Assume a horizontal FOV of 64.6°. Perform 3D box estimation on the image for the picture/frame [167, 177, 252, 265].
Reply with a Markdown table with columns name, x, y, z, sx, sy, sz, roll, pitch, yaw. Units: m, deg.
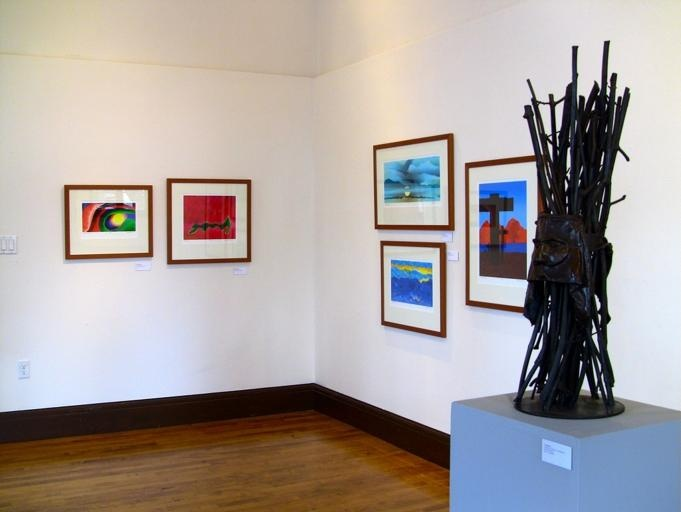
| name | x | y | z | sx | sy | sz | roll | pitch | yaw |
| --- | --- | --- | --- | --- | --- | --- | --- | --- | --- |
| picture/frame | -1.361 | -0.365 | 5.422 | 0.806 | 0.876 | 0.034 | -2 | 4 | -21 |

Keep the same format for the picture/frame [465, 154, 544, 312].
| name | x | y | z | sx | sy | sz | roll | pitch | yaw |
| --- | --- | --- | --- | --- | --- | --- | --- | --- | --- |
| picture/frame | 1.126 | -0.152 | 3.779 | 0.536 | 1.056 | 0.039 | 1 | 4 | 35 |

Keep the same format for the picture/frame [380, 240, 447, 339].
| name | x | y | z | sx | sy | sz | roll | pitch | yaw |
| --- | --- | --- | --- | --- | --- | --- | --- | --- | --- |
| picture/frame | 0.599 | 0.254 | 4.572 | 0.690 | 0.739 | 0.048 | 6 | -12 | -34 |

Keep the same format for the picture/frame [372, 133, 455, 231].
| name | x | y | z | sx | sy | sz | roll | pitch | yaw |
| --- | --- | --- | --- | --- | --- | --- | --- | --- | --- |
| picture/frame | 0.622 | -0.621 | 4.475 | 0.031 | 0.750 | 0.835 | -2 | 2 | -39 |

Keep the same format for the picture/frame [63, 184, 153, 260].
| name | x | y | z | sx | sy | sz | roll | pitch | yaw |
| --- | --- | --- | --- | --- | --- | --- | --- | --- | --- |
| picture/frame | -2.247 | -0.337 | 5.120 | 0.673 | 0.676 | 0.028 | -1 | 0 | -25 |
